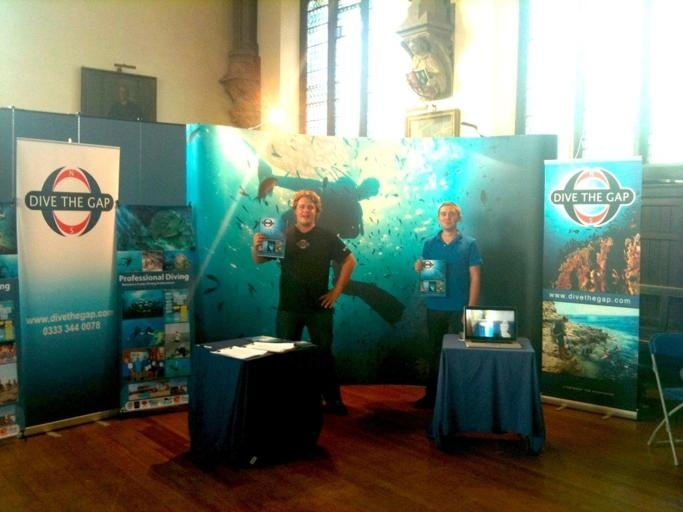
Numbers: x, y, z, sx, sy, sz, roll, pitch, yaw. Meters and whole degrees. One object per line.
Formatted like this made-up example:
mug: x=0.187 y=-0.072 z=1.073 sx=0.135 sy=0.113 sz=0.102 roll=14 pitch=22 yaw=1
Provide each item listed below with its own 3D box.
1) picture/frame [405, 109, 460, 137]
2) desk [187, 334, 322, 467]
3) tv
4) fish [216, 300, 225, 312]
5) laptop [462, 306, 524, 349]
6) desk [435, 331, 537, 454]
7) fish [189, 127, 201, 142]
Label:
picture/frame: x=1.175 y=-1.728 z=6.917 sx=0.795 sy=0.344 sz=0.126 roll=7 pitch=11 yaw=38
desk: x=-0.753 y=1.152 z=4.590 sx=0.916 sy=0.824 sz=0.850 roll=-3 pitch=5 yaw=-43
tv: x=-3.384 y=-2.491 z=8.182 sx=1.182 sy=0.731 sz=0.220 roll=-7 pitch=11 yaw=-41
fish: x=-1.272 y=0.526 z=5.621 sx=0.066 sy=0.097 sz=0.036 roll=2 pitch=8 yaw=-29
laptop: x=1.322 y=0.635 z=4.744 sx=0.461 sy=0.319 sz=0.298 roll=0 pitch=-9 yaw=2
desk: x=1.321 y=1.152 z=4.882 sx=1.032 sy=0.737 sz=1.018 roll=0 pitch=3 yaw=25
fish: x=-1.505 y=-1.260 z=5.469 sx=0.135 sy=0.140 sz=0.026 roll=2 pitch=9 yaw=13
